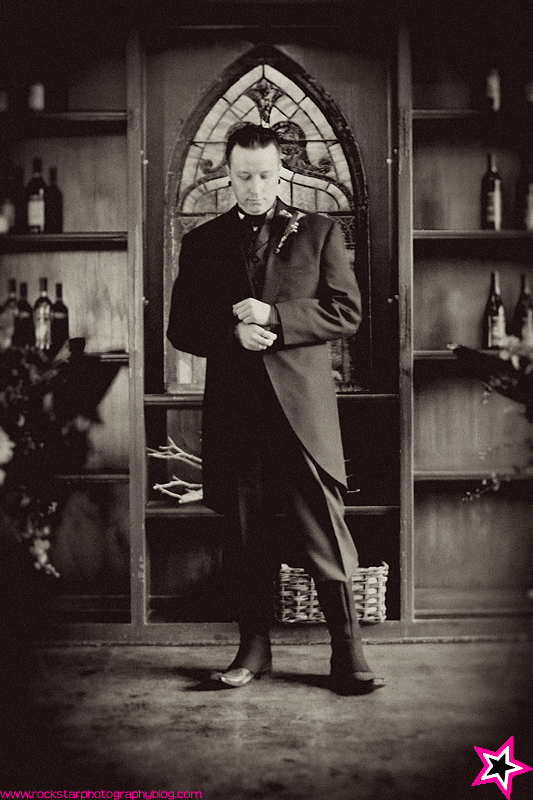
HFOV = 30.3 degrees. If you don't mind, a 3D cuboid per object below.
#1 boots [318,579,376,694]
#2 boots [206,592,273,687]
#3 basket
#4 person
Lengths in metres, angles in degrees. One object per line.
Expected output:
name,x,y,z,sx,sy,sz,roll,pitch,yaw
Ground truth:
boots,0.218,0.642,2.682,0.169,0.316,0.093,4,8,37
boots,-0.064,0.692,2.776,0.100,0.253,0.257,1,3,30
basket,0.201,0.617,3.118,0.265,0.156,0.189,0,-3,0
person,0.011,0.028,2.723,0.599,1.542,0.296,0,6,3
